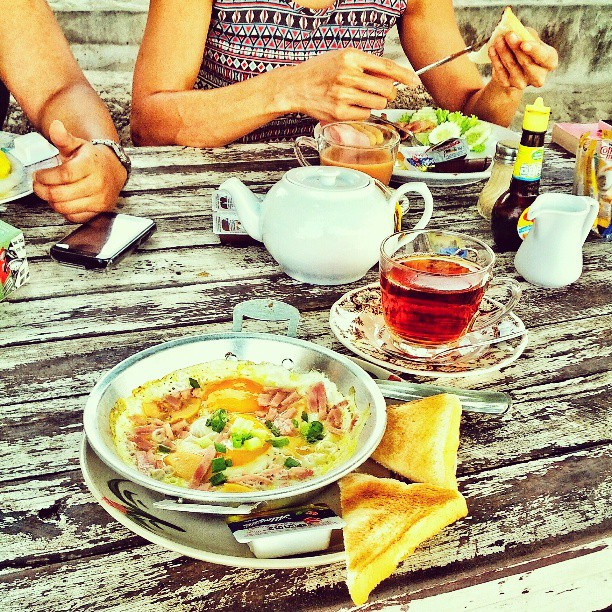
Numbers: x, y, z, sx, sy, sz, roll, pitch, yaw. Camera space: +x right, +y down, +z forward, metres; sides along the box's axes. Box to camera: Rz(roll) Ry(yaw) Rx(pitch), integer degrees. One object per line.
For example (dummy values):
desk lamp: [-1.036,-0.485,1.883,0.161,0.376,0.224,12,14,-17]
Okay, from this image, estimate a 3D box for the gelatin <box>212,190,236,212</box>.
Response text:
gelatin: [-0.178,-0.223,1.326,0.064,0.022,0.071,-1,36,-6]

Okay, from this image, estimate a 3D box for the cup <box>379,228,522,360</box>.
cup: [0.198,-0.006,1.032,0.262,0.199,0.208,2,23,2]

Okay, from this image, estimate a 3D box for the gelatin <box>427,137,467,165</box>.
gelatin: [0.370,-0.412,1.643,0.097,0.036,0.098,-3,45,-8]

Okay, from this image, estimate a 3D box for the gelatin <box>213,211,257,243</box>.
gelatin: [-0.146,-0.162,1.269,0.066,0.025,0.083,-2,21,-9]

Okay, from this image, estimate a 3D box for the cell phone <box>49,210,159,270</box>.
cell phone: [-0.387,-0.148,1.187,0.129,0.032,0.150,16,37,19]
